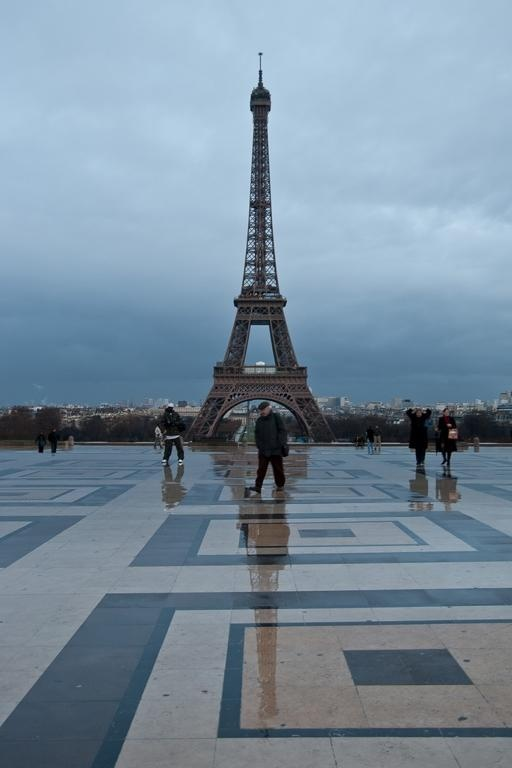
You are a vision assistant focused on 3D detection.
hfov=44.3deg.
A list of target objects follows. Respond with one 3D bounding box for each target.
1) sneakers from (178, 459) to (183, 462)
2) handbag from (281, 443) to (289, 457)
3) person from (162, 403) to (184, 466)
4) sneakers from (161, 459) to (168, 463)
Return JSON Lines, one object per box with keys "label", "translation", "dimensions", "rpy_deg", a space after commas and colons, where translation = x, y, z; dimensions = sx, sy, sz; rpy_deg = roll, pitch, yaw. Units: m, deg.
{"label": "sneakers", "translation": [-2.228, 2.270, 18.461], "dimensions": [0.100, 0.127, 0.130], "rpy_deg": [-5, -4, -2]}
{"label": "handbag", "translation": [0.496, 1.176, 11.180], "dimensions": [0.095, 0.168, 0.231], "rpy_deg": [-2, -1, -8]}
{"label": "person", "translation": [-2.335, 1.396, 17.515], "dimensions": [0.570, 1.570, 0.547], "rpy_deg": [-3, 1, -2]}
{"label": "sneakers", "translation": [-2.588, 2.199, 17.751], "dimensions": [0.119, 0.111, 0.120], "rpy_deg": [5, 5, 34]}
